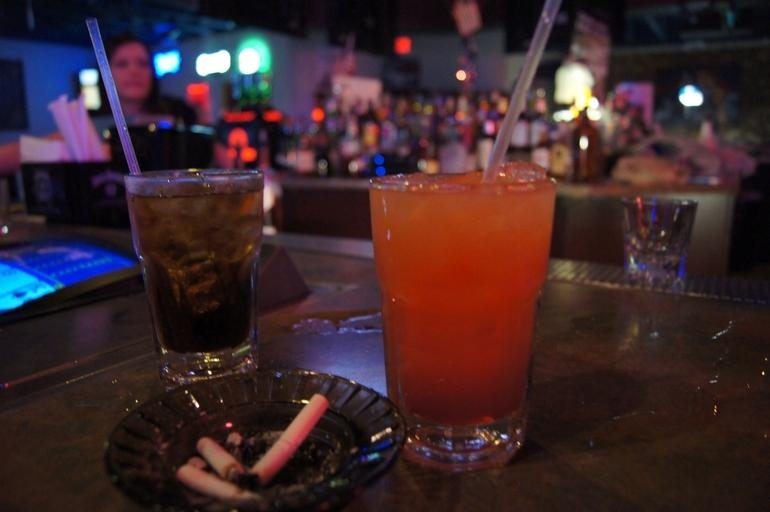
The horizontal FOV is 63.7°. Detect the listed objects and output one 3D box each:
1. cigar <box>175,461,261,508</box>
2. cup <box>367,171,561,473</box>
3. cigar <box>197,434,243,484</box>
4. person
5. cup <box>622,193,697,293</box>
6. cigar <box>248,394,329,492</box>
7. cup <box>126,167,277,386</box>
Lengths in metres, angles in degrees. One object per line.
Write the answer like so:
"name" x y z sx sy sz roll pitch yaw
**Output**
"cigar" -0.185 0.258 0.693 0.122 0.022 0.029 12 20 32
"cup" 0.187 0.055 1.016 0.359 0.519 0.348 0 7 0
"cigar" -0.191 0.241 0.735 0.049 0.015 0.050 29 46 35
"person" -1.956 -0.845 4.846 1.124 1.697 0.929 1 -2 -5
"cup" 0.430 -0.019 0.998 0.106 0.154 0.048 7 19 18
"cigar" -0.114 0.224 0.759 0.024 0.025 0.137 22 37 16
"cup" -0.288 0.021 1.007 0.209 0.313 0.208 -1 5 0
